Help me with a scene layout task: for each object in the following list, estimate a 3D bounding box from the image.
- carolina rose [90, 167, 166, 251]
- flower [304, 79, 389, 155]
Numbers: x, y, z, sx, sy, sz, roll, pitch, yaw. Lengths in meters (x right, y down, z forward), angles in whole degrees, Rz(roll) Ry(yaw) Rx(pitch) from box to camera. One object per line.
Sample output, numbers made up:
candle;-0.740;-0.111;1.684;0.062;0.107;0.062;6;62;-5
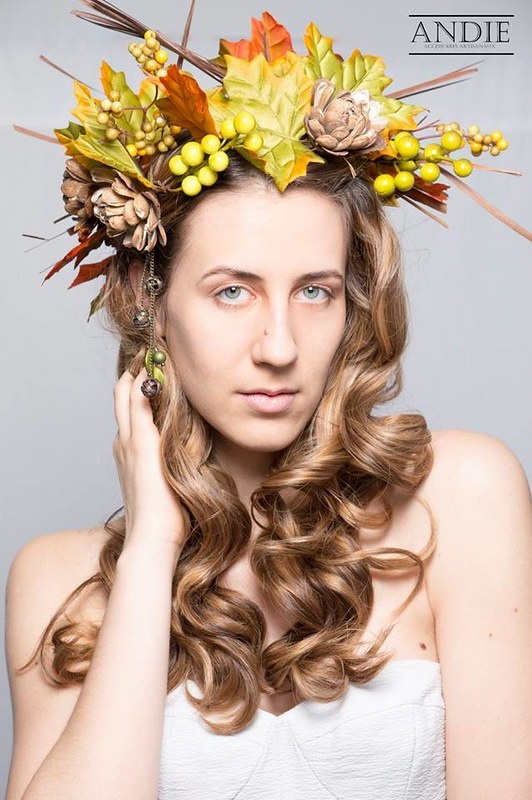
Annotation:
carolina rose;-0.241;-0.332;1.389;0.125;0.128;0.055;9;16;26
flower;0.140;-0.496;1.399;0.137;0.121;0.148;3;13;5
